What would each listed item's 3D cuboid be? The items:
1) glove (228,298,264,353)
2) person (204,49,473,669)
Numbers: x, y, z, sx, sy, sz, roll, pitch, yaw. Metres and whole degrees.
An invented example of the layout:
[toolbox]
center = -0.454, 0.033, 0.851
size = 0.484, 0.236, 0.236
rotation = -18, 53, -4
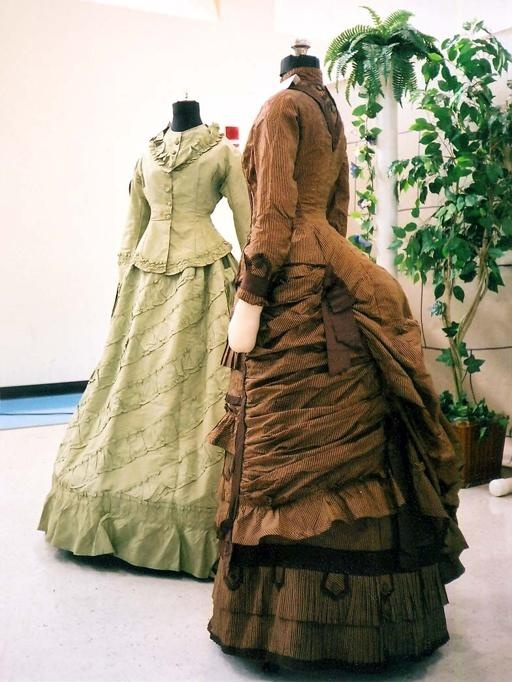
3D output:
[glove]
center = -0.021, -0.030, 1.139
size = 0.067, 0.103, 0.052
rotation = 1, 3, 4
[person]
center = 0.189, -0.012, 1.223
size = 0.568, 1.318, 0.336
rotation = 0, 3, -6
